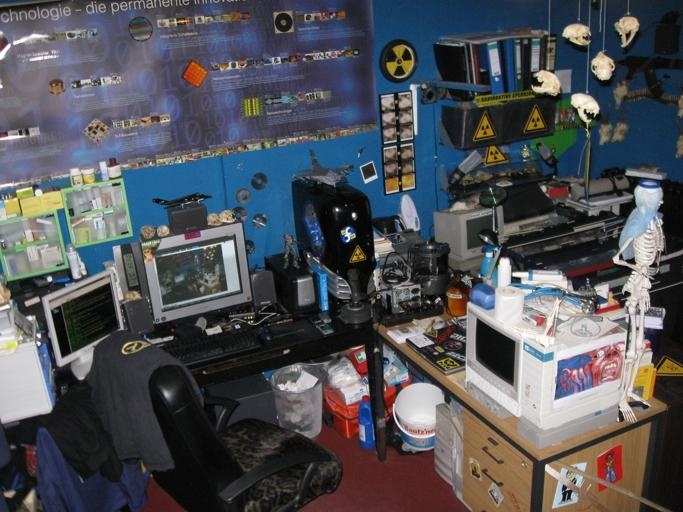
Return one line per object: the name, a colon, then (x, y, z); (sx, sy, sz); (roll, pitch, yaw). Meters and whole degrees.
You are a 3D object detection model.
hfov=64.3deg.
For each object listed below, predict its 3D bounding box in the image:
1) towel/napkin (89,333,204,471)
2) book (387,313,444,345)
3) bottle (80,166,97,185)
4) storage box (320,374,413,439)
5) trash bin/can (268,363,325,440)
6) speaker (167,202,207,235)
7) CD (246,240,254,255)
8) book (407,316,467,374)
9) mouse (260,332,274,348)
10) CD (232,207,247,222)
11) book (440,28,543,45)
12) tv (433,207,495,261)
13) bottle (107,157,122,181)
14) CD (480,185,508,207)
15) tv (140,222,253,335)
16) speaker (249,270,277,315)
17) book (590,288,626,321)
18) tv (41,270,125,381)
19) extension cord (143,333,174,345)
towel/napkin: (-0.922, 0.685, 2.546); (0.665, 0.650, 0.243); (8, 23, 37)
book: (0.455, 0.453, 3.388); (0.291, 0.033, 0.157); (-12, 26, -22)
bottle: (-1.638, -0.512, 3.499); (0.091, 0.098, 0.090); (-3, 16, -17)
storage box: (0.096, 1.068, 3.889); (0.490, 0.175, 0.407); (-16, 25, -35)
trash bin/can: (-0.273, 0.985, 3.913); (0.397, 0.492, 0.488); (-3, 19, -6)
speaker: (-1.002, -0.244, 3.508); (0.246, 0.169, 0.123); (-12, 19, -18)
CD: (-0.680, -0.054, 3.945); (0.082, 0.091, 0.072); (0, 1, -15)
book: (0.604, 0.520, 3.165); (0.261, 0.039, 0.276); (-12, 27, -25)
mouse: (-0.467, 0.518, 3.352); (0.049, 0.033, 0.090); (-4, 24, -17)
CD: (-0.730, -0.298, 3.897); (0.103, 0.112, 0.052); (-11, 19, -16)
book: (1.080, -1.622, 4.018); (0.416, 0.055, 0.383); (-14, 25, -23)
tv: (0.903, -0.225, 4.202); (0.382, 0.404, 0.390); (-16, 24, -31)
bottle: (-1.494, -0.562, 3.541); (0.101, 0.135, 0.130); (-15, 23, -37)
CD: (1.063, -0.413, 3.845); (0.155, 0.039, 0.155); (-10, 45, 3)
tv: (-0.972, 0.149, 3.517); (0.577, 0.506, 0.292); (-13, 20, -18)
speaker: (-0.545, 0.257, 3.699); (0.180, 0.317, 0.169); (-13, 23, -9)
book: (1.344, 0.249, 2.741); (0.120, 0.086, 0.123); (-14, 28, 5)
tv: (-1.452, 0.408, 3.026); (0.181, 0.489, 0.446); (14, 31, 26)
extension cord: (-1.152, 0.499, 3.413); (0.150, 0.036, 0.138); (0, 16, -12)
